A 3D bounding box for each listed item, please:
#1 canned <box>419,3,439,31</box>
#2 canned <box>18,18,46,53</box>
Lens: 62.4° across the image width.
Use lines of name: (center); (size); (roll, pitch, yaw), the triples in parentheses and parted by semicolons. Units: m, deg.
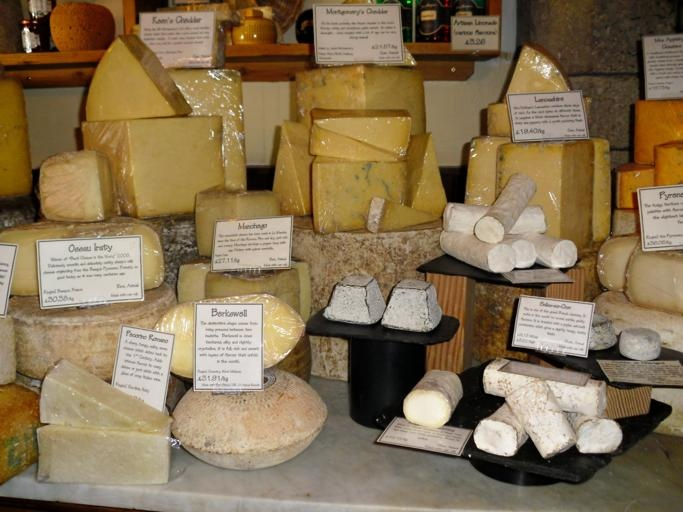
canned: (0.384, -1.029, 2.441); (0.110, 0.105, 0.107); (1, 23, 10)
canned: (-1.398, -0.979, 2.544); (0.112, 0.145, 0.102); (-8, 13, -29)
